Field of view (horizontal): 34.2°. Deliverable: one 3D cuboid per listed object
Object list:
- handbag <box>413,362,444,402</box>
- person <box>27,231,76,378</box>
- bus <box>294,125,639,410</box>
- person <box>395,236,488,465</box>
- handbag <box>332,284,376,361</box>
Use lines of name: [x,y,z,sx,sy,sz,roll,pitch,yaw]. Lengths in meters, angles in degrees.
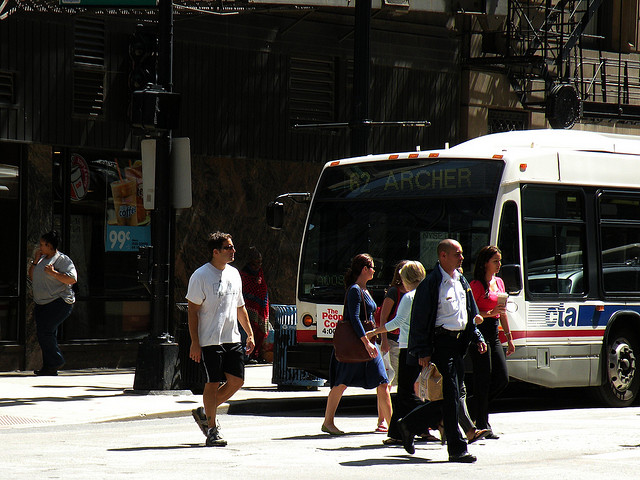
handbag: [1.110,1.502,11.163,0.155,0.417,0.397,-5,4,-25]
person: [-4.476,1.111,17.319,0.784,2.516,0.945,-10,11,-27]
bus: [1.462,0.068,14.590,6.673,3.389,2.473,4,-5,-39]
person: [1.315,1.217,11.362,0.986,2.424,1.498,-3,10,9]
handbag: [0.387,0.950,12.114,0.494,0.936,0.236,-3,18,-2]
